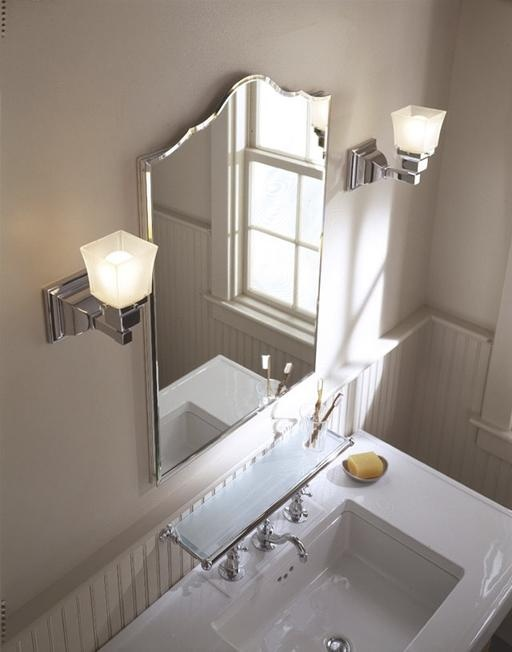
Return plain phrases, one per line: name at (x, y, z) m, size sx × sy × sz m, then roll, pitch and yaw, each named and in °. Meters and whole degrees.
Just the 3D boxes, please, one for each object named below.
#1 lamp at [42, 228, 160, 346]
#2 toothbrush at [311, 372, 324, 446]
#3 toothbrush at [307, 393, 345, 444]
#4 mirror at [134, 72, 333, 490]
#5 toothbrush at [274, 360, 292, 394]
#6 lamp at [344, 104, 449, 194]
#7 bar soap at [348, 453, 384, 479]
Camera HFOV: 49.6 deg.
lamp at (-0.241, -0.050, 0.857) m, size 0.142 × 0.168 × 0.155 m, roll 29°, pitch 37°, yaw 35°
toothbrush at (0.173, 0.236, 1.537) m, size 0.017 × 0.191 × 0.036 m, roll 8°, pitch -1°, yaw -44°
toothbrush at (0.201, 0.266, 1.617) m, size 0.043 × 0.194 × 0.025 m, roll 31°, pitch 18°, yaw 12°
mirror at (-0.019, -0.117, 1.243) m, size 0.090 × 0.813 × 0.598 m, roll 19°, pitch 29°, yaw 28°
toothbrush at (0.073, 0.151, 1.511) m, size 0.029 × 0.110 × 0.025 m, roll 9°, pitch 22°, yaw -11°
lamp at (0.368, -0.457, 1.443) m, size 0.214 × 0.255 × 0.168 m, roll 25°, pitch 47°, yaw 34°
bar soap at (0.341, 0.437, 1.723) m, size 0.105 × 0.044 × 0.093 m, roll -3°, pitch 28°, yaw -16°
